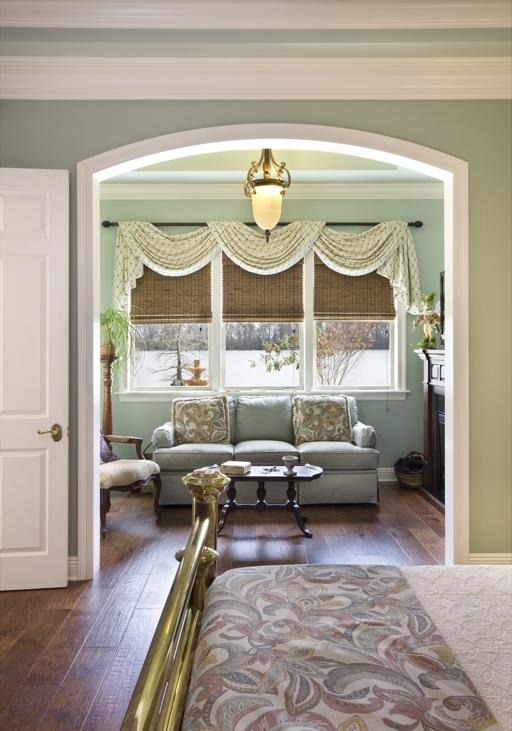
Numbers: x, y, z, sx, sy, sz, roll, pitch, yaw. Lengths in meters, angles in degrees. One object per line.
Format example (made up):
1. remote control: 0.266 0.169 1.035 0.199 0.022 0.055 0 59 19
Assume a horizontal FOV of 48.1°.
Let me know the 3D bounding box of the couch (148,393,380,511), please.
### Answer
1. couch: 0.087 0.729 5.106 1.864 0.877 0.836 0 -1 0

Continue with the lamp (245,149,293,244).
1. lamp: 0.078 -1.078 3.647 0.270 0.631 0.565 -1 -3 2

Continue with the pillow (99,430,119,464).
1. pillow: -1.203 0.681 4.634 0.077 0.235 0.253 -19 3 -18

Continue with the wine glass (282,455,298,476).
1. wine glass: 0.234 0.719 4.101 0.119 0.116 0.119 2 -3 15

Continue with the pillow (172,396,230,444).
1. pillow: -0.492 0.501 5.116 0.437 0.414 0.125 1 -12 -3

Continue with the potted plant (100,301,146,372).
1. potted plant: -1.281 -0.264 5.456 0.379 0.601 0.732 0 -3 -5
